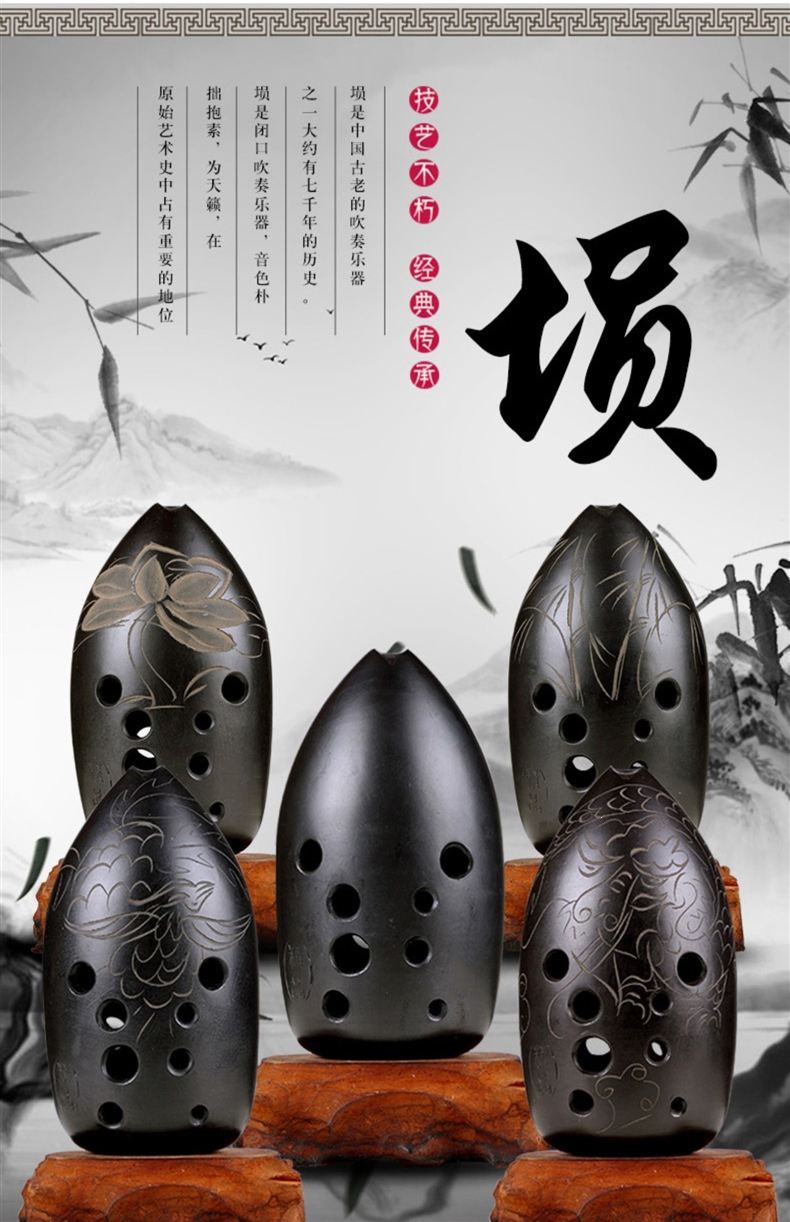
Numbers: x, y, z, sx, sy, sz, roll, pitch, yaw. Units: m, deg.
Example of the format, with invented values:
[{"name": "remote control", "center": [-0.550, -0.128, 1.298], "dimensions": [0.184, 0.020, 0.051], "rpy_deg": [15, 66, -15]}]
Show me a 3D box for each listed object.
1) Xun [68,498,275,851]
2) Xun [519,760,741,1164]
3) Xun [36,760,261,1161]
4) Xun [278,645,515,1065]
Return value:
[{"name": "Xun", "center": [-0.371, 0.112, 1.683], "dimensions": [0.330, 0.483, 0.311], "rpy_deg": [-4, -1, 3]}, {"name": "Xun", "center": [0.216, 0.354, 1.160], "dimensions": [0.214, 0.363, 0.199], "rpy_deg": [11, 16, 26]}, {"name": "Xun", "center": [-0.232, 0.336, 1.155], "dimensions": [0.187, 0.333, 0.192], "rpy_deg": [1, 14, -12]}, {"name": "Xun", "center": [-0.005, 0.272, 1.332], "dimensions": [0.222, 0.428, 0.214], "rpy_deg": [-1, 15, -21]}]
